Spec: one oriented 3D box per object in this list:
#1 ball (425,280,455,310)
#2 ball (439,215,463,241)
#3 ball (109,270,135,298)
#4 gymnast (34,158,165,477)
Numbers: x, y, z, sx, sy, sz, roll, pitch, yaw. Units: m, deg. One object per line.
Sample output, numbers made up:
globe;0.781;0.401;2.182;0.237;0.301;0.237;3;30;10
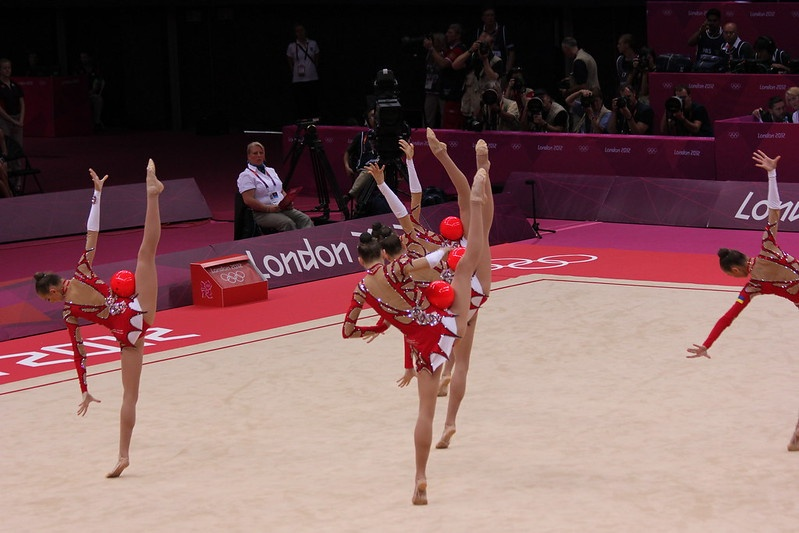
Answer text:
ball;0.336;0.220;5.779;0.222;0.238;0.222;-8;7;1
ball;0.475;-0.379;7.293;0.237;0.241;0.237;1;-5;0
ball;-2.457;0.143;6.454;0.248;0.247;0.230;1;-1;0
gymnast;-2.541;0.386;6.567;1.243;2.993;1.144;6;-8;-31
